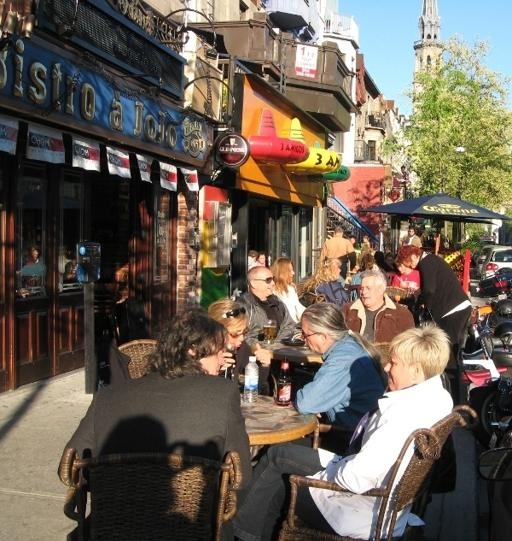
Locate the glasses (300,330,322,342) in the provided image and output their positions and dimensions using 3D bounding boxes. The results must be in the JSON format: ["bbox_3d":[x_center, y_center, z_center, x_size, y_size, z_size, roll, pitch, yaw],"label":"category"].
[{"bbox_3d":[0.344,0.420,4.029,0.112,0.045,0.124,0,-2,-2],"label":"glasses"}]

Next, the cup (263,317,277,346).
[{"bbox_3d":[0.133,0.618,6.196,0.166,0.343,0.179,0,3,0],"label":"cup"}]
